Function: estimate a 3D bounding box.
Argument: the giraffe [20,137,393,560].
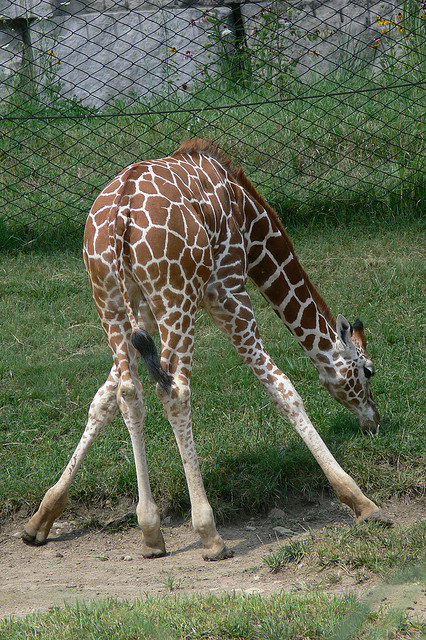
[{"bbox_3d":[0.145,0.057,4.289,1.492,1.963,0.740,-9,2,-26],"label":"giraffe"}]
